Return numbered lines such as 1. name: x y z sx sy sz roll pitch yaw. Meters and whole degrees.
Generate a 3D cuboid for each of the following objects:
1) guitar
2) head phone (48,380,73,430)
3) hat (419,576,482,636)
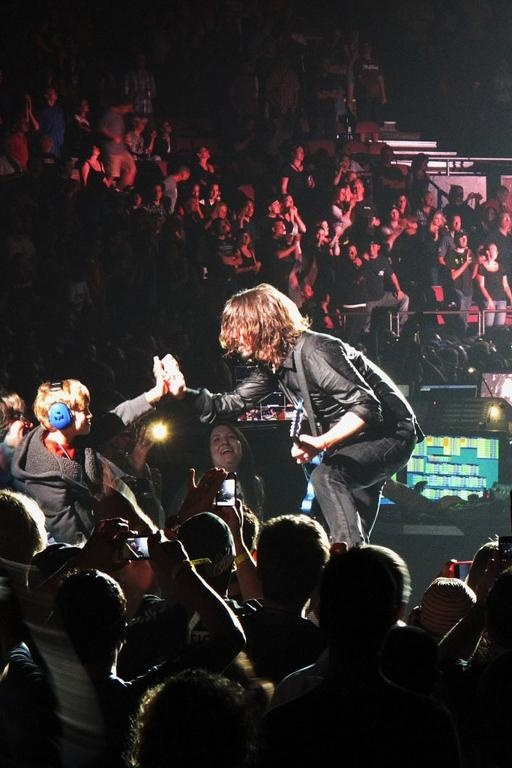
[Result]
1. guitar: 0.366 0.586 5.342 0.211 0.869 0.350 1 10 -19
2. head phone: -1.444 0.176 5.403 0.255 0.312 0.116 -5 1 8
3. hat: 0.447 0.510 1.708 0.119 0.119 0.126 1 8 11
